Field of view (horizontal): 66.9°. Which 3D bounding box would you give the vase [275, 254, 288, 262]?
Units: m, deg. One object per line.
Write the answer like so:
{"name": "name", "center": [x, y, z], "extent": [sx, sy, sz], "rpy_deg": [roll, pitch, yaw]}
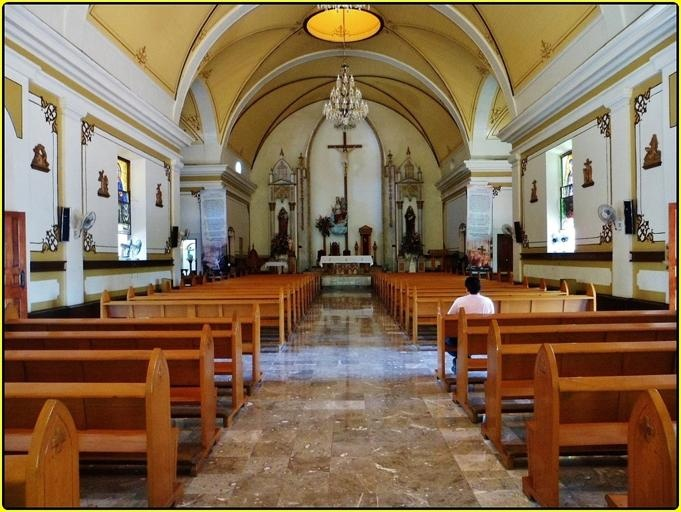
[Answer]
{"name": "vase", "center": [-2.677, 0.081, 23.917], "extent": [0.535, 0.412, 0.311], "rpy_deg": [1, -8, 1]}

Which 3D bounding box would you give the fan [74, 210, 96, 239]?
{"name": "fan", "center": [-4.726, -0.577, 9.721], "extent": [0.283, 0.470, 0.773], "rpy_deg": [-1, -1, -13]}

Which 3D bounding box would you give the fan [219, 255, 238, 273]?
{"name": "fan", "center": [-4.091, 0.289, 18.069], "extent": [0.544, 0.606, 1.052], "rpy_deg": [-1, -3, -1]}

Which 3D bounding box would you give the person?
{"name": "person", "center": [1.765, 0.945, 7.123], "extent": [0.565, 1.247, 0.734], "rpy_deg": [9, -13, -31]}

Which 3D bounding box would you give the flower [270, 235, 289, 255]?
{"name": "flower", "center": [-2.735, -0.532, 23.983], "extent": [0.847, 1.064, 0.774], "rpy_deg": [3, -13, -7]}

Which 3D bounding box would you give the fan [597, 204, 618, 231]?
{"name": "fan", "center": [4.932, -0.752, 9.609], "extent": [0.263, 0.419, 0.448], "rpy_deg": [-1, -1, 13]}

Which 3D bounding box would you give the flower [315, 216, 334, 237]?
{"name": "flower", "center": [-0.751, -1.355, 24.899], "extent": [0.794, 1.018, 0.923], "rpy_deg": [3, -4, -25]}

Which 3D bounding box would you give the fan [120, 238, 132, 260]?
{"name": "fan", "center": [-4.902, -0.174, 11.873], "extent": [0.225, 0.483, 0.559], "rpy_deg": [-1, -1, -18]}
